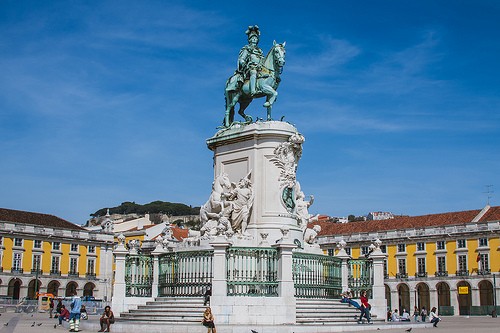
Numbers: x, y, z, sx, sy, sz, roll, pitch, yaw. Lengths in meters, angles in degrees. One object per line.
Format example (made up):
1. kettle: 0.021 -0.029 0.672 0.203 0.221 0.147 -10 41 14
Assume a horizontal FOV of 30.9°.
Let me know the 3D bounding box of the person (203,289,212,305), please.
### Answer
1. person: -2.584 8.108 56.424 0.279 1.037 0.809 8 -17 -26

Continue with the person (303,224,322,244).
1. person: 4.140 4.413 60.179 0.516 1.454 1.510 -10 -17 33

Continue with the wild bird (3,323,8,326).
1. wild bird: -15.999 10.358 59.325 0.129 0.225 0.286 -10 -34 24

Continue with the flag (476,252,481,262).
1. flag: 25.609 9.920 100.517 0.426 1.015 1.090 -5 -15 19

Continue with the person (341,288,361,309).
1. person: 6.708 8.583 58.801 1.526 0.975 0.644 20 12 34
